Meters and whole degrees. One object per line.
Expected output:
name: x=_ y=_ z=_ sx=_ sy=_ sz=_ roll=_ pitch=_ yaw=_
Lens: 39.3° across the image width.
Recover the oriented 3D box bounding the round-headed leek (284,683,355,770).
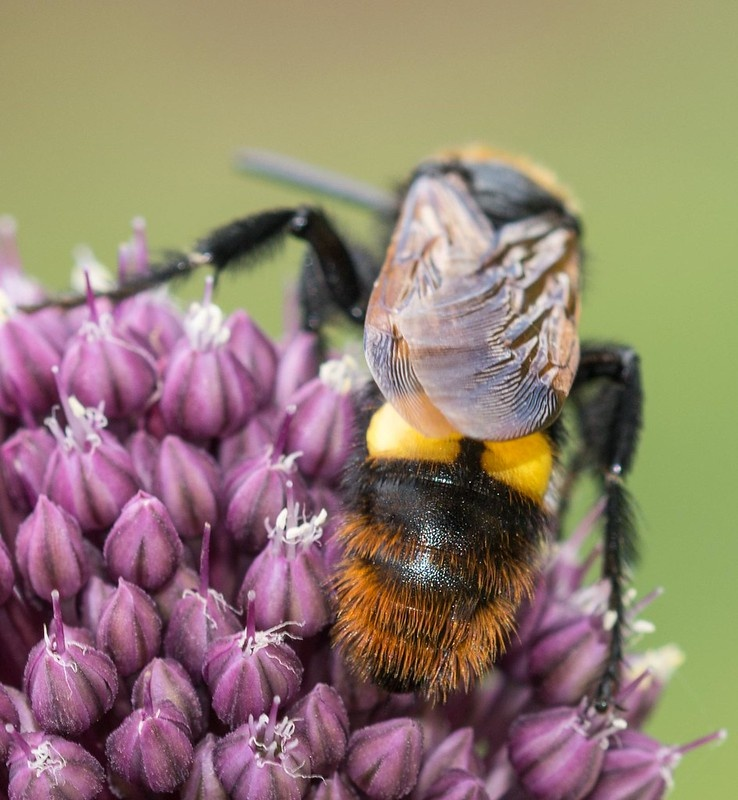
round-headed leek: x=-0.024 y=0.172 z=0.541 sx=0.029 sy=0.045 sz=0.048 roll=0 pitch=13 yaw=5
